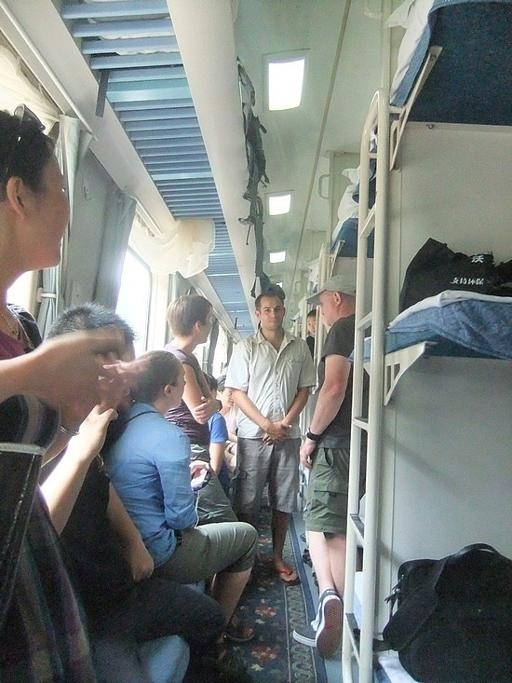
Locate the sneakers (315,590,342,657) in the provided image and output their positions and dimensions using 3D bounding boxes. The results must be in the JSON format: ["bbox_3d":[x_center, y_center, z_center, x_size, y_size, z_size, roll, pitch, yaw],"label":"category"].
[{"bbox_3d":[0.277,1.131,1.903,0.088,0.277,0.105,1,9,-5],"label":"sneakers"}]

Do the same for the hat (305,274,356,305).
[{"bbox_3d":[0.408,-0.282,2.542,0.185,0.102,0.123,4,7,15],"label":"hat"}]
